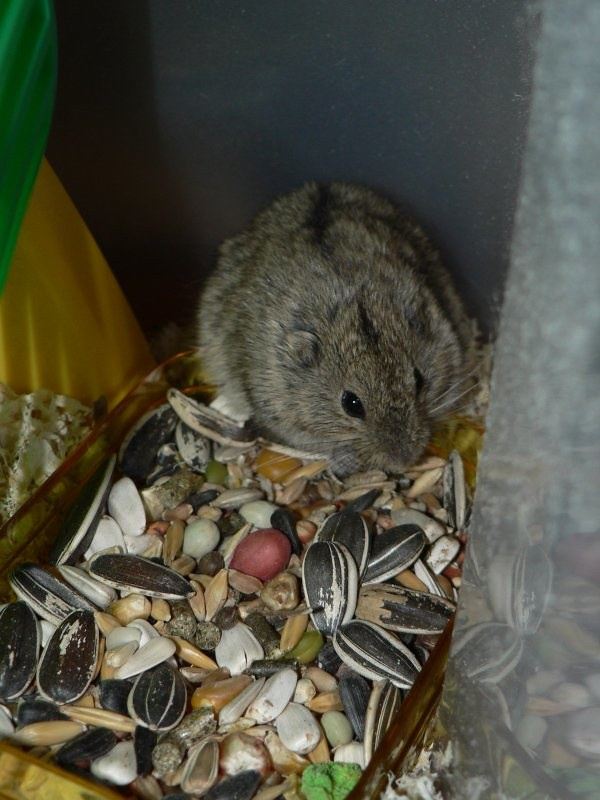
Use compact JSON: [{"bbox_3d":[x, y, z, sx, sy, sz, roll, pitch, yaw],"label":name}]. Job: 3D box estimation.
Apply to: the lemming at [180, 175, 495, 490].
[{"bbox_3d":[0.072,-0.138,1.256,0.554,0.577,0.163,13,70,49],"label":"lemming"}]
